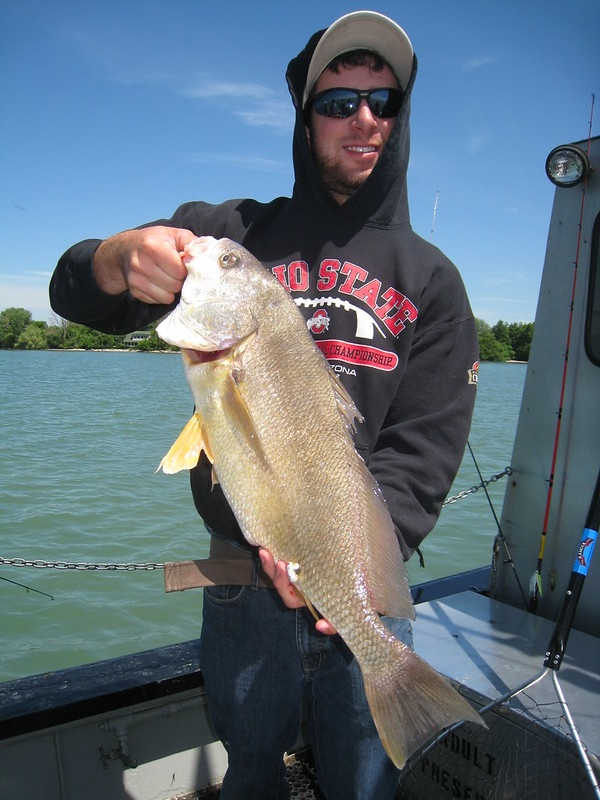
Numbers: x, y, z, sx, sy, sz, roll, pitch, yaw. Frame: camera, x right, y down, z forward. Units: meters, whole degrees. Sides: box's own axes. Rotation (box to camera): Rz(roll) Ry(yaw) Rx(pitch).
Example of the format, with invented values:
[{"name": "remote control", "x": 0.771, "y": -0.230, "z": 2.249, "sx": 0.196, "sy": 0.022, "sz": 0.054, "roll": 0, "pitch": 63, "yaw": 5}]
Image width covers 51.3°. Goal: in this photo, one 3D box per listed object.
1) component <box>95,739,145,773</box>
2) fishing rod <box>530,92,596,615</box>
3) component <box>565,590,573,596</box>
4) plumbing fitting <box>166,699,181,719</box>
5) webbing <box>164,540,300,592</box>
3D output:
[{"name": "component", "x": -0.762, "y": 1.471, "z": 2.595, "sx": 0.185, "sy": 0.087, "sz": 0.097, "roll": 5, "pitch": -11, "yaw": -8}, {"name": "fishing rod", "x": 1.442, "y": -0.038, "z": 3.334, "sx": 0.063, "sy": 2.797, "sz": 0.320, "roll": 6, "pitch": -1, "yaw": 11}, {"name": "component", "x": 1.048, "y": 0.743, "z": 2.414, "sx": 0.020, "sy": 0.017, "sz": 0.005, "roll": -2, "pitch": -20, "yaw": 42}, {"name": "plumbing fitting", "x": -0.551, "y": 1.315, "z": 2.686, "sx": 0.062, "sy": 0.048, "sz": 0.072, "roll": 0, "pitch": 21, "yaw": 13}, {"name": "webbing", "x": -0.248, "y": 0.512, "z": 1.917, "sx": 0.342, "sy": 0.074, "sz": 0.180, "roll": -2, "pitch": 0, "yaw": -10}]
